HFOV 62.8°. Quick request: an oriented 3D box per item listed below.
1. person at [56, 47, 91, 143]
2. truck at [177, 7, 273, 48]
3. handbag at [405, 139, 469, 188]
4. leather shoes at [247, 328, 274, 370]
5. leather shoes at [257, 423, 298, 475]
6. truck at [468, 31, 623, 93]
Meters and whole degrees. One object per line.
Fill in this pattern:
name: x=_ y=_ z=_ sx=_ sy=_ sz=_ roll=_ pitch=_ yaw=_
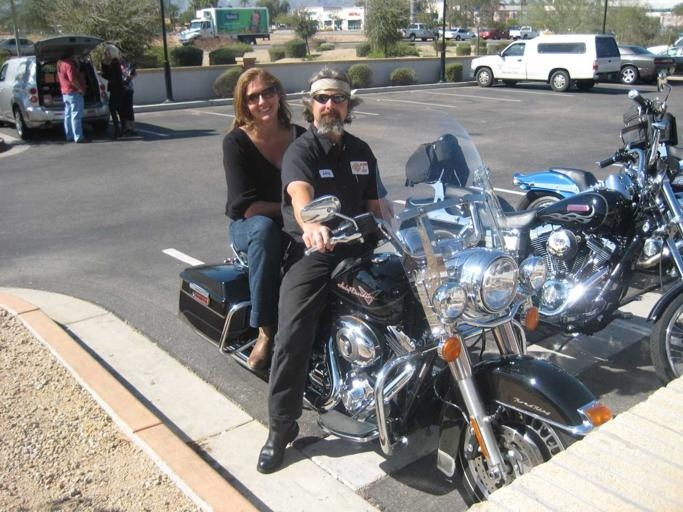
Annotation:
person: x=-6.371 y=-3.887 z=13.269 sx=1.133 sy=2.196 sz=0.635 roll=41 pitch=45 yaw=15
truck: x=-11.285 y=-23.210 z=55.400 sx=2.765 sy=3.857 sz=10.550 roll=8 pitch=18 yaw=33
handbag: x=0.598 y=-0.595 z=3.684 sx=0.324 sy=0.398 sz=0.418 roll=-11 pitch=21 yaw=-43
leather shoes: x=-0.584 y=0.659 z=4.047 sx=0.137 sy=0.302 sz=0.402 roll=3 pitch=8 yaw=7
leather shoes: x=-0.403 y=1.133 z=3.475 sx=0.135 sy=0.267 sz=0.384 roll=14 pitch=27 yaw=24
truck: x=8.483 y=-8.213 z=24.086 sx=1.947 sy=2.252 sz=6.101 roll=-15 pitch=20 yaw=-39
